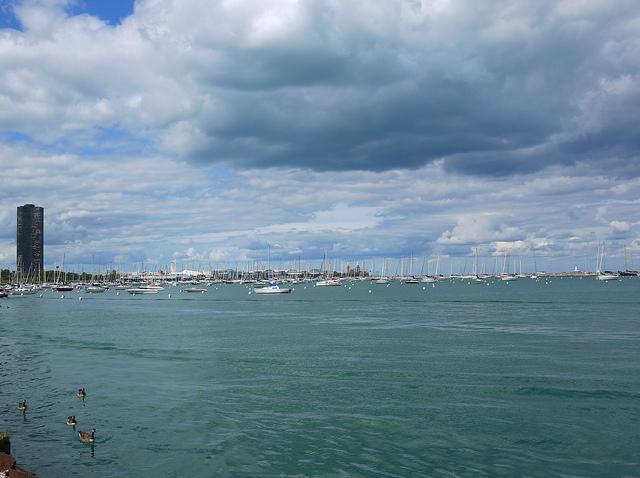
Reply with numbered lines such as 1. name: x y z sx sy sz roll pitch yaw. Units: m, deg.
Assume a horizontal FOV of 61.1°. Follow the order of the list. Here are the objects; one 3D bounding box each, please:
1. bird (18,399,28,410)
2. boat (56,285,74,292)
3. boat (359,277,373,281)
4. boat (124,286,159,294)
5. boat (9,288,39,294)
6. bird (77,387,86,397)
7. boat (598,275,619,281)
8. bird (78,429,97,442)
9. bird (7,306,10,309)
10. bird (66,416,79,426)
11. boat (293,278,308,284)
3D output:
1. bird: -22.404 12.521 40.918 0.584 0.707 0.998 0 -1 -26
2. boat: -103.219 20.166 219.927 5.069 2.191 8.220 0 -1 -26
3. boat: 37.599 32.449 446.472 9.118 3.232 11.518 1 -1 9
4. boat: -65.253 19.035 198.847 4.432 2.008 10.703 -1 -1 27
5. boat: -115.154 20.128 210.366 8.159 1.572 1.559 4 -24 -15
6. bird: -18.962 12.192 43.280 0.618 0.580 0.927 3 -2 -13
7. boat: 140.926 18.546 263.747 7.824 2.009 7.383 0 -1 5
8. bird: -15.615 13.117 36.301 1.291 0.732 0.370 -1 -1 17
9. bird: -75.486 16.424 131.682 0.673 0.514 0.344 -4 -1 44
10. bird: -17.524 12.867 38.491 0.652 0.661 0.760 0 -1 -22
11. boat: -13.630 29.451 387.772 6.242 3.772 10.312 1 0 8
